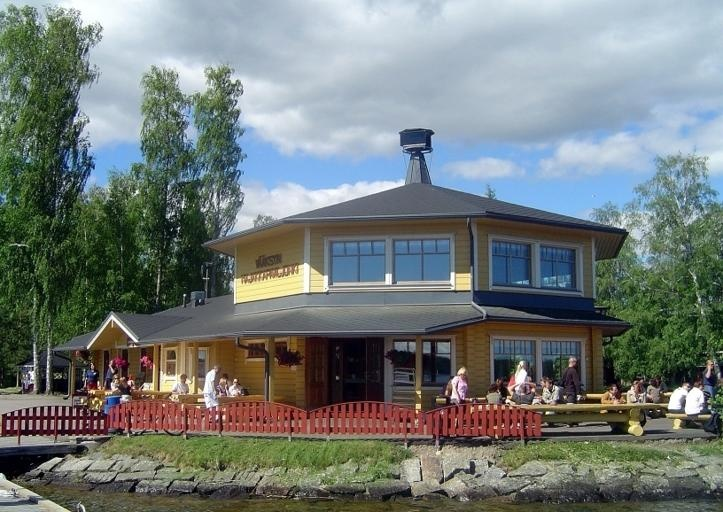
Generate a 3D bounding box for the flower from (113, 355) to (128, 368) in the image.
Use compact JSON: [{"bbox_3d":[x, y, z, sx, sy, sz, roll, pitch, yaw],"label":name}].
[{"bbox_3d":[-12.556,5.512,36.593,0.575,0.478,0.588,23,7,22],"label":"flower"}]
